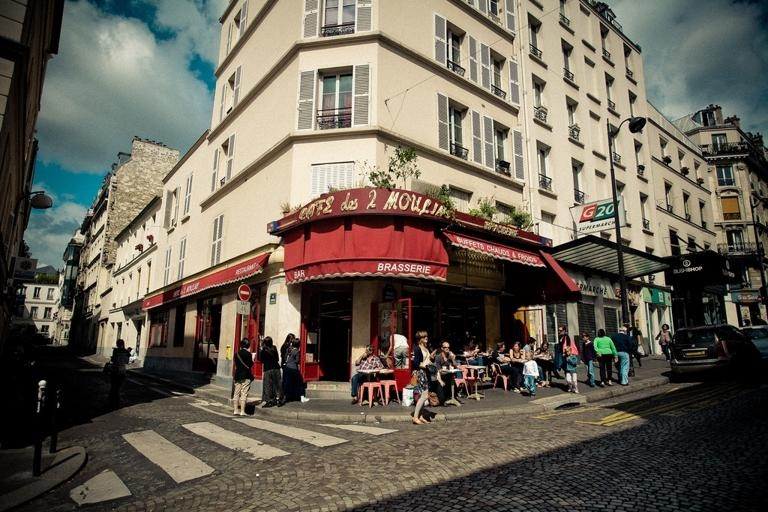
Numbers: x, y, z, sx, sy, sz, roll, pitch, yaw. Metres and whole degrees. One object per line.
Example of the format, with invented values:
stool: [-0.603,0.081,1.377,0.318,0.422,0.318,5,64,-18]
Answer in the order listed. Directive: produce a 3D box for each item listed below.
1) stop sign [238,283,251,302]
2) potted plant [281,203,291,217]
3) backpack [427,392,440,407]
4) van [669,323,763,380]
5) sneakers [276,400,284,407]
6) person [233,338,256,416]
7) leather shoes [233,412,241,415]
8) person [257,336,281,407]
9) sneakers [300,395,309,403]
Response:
stop sign: [-5.366,1.420,19.709,0.126,0.823,0.689,-18,-22,35]
potted plant: [-3.878,-1.840,20.258,0.447,0.498,0.487,-1,-13,7]
backpack: [1.578,4.532,16.358,0.323,0.475,0.372,-1,2,7]
van: [12.994,3.610,19.821,3.134,1.585,1.820,3,-9,-34]
sneakers: [-3.522,4.946,17.418,0.176,0.186,0.331,8,8,2]
person: [-4.629,3.933,16.742,0.632,2.466,0.656,-2,2,-17]
leather shoes: [-4.743,5.026,16.492,0.215,0.112,0.205,-1,2,-4]
person: [-3.879,3.913,17.460,0.728,2.265,0.690,-1,2,-3]
sneakers: [-2.800,5.018,18.206,0.312,0.241,0.142,-2,-2,-43]
